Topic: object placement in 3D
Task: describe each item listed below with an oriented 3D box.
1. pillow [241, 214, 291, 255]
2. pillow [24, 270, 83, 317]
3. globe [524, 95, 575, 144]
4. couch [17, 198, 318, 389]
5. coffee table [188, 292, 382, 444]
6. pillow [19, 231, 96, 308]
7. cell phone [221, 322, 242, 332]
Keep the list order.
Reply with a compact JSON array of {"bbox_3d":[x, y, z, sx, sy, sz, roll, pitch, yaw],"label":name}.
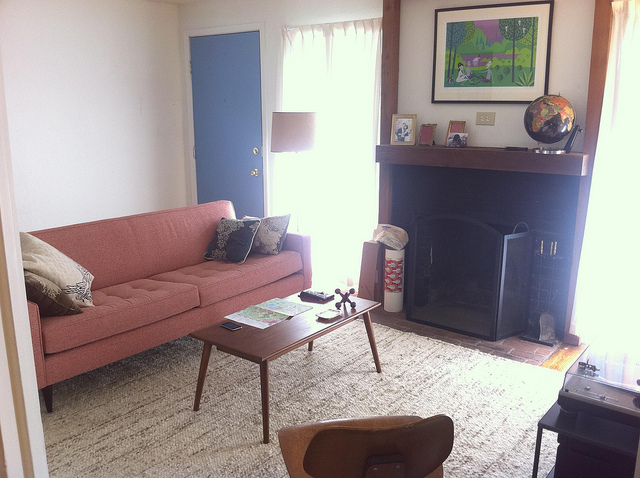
[{"bbox_3d":[-0.415,-0.046,4.159,0.328,0.337,0.123,6,-14,9],"label":"pillow"},{"bbox_3d":[-1.579,0.320,2.953,0.262,0.238,0.341,6,12,-21],"label":"pillow"},{"bbox_3d":[1.675,-0.880,3.526,0.341,0.337,0.190,8,18,25],"label":"globe"},{"bbox_3d":[-1.181,0.252,3.707,0.820,0.902,2.514,7,12,30],"label":"couch"},{"bbox_3d":[-0.235,0.711,3.063,0.613,0.495,1.057,12,20,36],"label":"coffee table"},{"bbox_3d":[-1.596,0.094,3.115,0.166,0.565,0.552,-40,20,0],"label":"pillow"},{"bbox_3d":[-0.531,0.528,2.907,0.088,0.015,0.151,-6,9,-43],"label":"cell phone"}]
